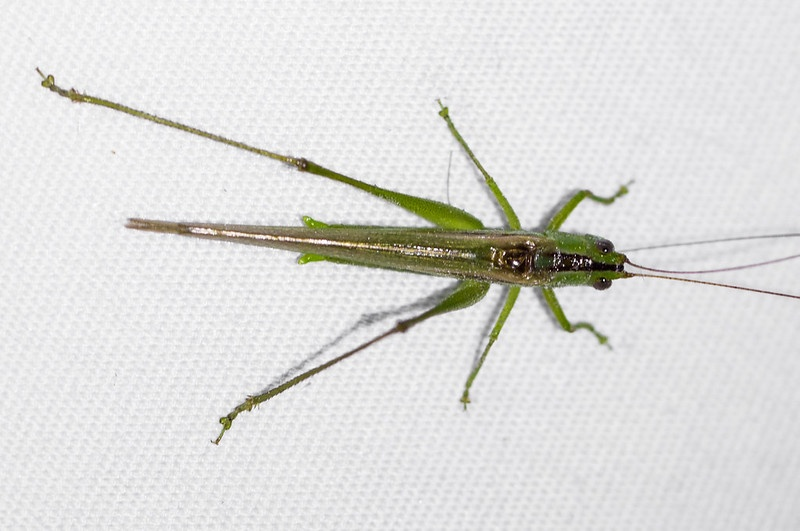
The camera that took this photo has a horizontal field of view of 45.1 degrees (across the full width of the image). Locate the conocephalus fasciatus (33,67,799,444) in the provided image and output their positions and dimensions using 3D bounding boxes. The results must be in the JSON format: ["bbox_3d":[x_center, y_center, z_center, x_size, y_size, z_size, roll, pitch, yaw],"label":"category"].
[{"bbox_3d":[0.306,-0.092,6.304,4.145,0.393,1.914,-1,-85,0],"label":"conocephalus fasciatus"}]
